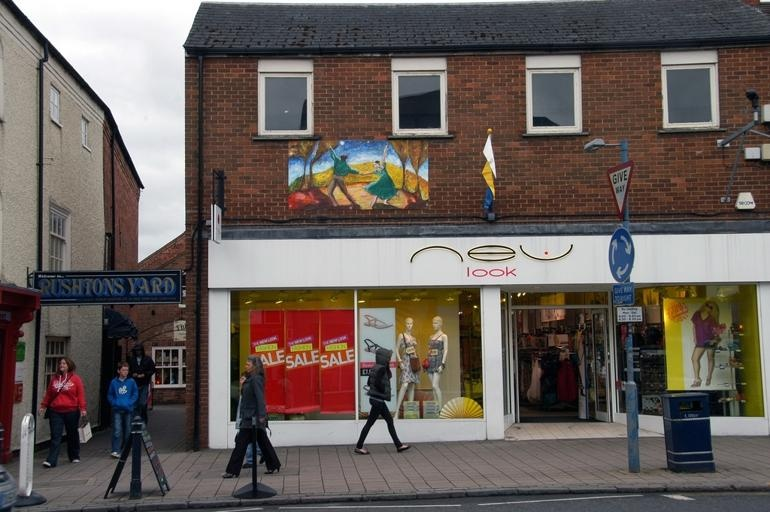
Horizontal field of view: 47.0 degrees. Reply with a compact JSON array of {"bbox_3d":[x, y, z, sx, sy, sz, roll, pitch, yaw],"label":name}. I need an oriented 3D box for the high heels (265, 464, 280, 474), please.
[{"bbox_3d":[-2.491,4.708,19.389,0.133,0.232,0.422,-7,-20,29],"label":"high heels"}]

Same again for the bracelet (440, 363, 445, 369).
[{"bbox_3d":[1.487,2.856,22.704,0.139,0.153,0.023,-1,-6,-9],"label":"bracelet"}]

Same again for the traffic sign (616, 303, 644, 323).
[{"bbox_3d":[5.283,1.147,19.243,0.644,0.477,0.370,-1,6,15],"label":"traffic sign"}]

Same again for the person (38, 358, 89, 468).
[{"bbox_3d":[-7.790,3.769,21.347,0.937,2.555,0.781,0,-7,-22],"label":"person"}]

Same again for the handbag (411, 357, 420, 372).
[{"bbox_3d":[0.743,2.825,22.697,0.312,0.442,0.192,0,-12,-7],"label":"handbag"}]

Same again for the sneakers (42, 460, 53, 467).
[{"bbox_3d":[-8.013,4.929,20.870,0.142,0.157,0.310,3,-9,-42],"label":"sneakers"}]

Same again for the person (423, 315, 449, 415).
[{"bbox_3d":[1.321,2.917,22.673,0.563,2.159,0.159,-1,-6,-7],"label":"person"}]

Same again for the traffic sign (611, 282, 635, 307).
[{"bbox_3d":[5.192,0.848,19.296,0.636,0.684,0.221,-3,-5,37],"label":"traffic sign"}]

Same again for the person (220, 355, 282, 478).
[{"bbox_3d":[-2.829,3.487,19.148,0.957,2.608,1.285,3,-8,-40],"label":"person"}]

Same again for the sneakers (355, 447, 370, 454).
[{"bbox_3d":[-0.579,4.663,21.048,0.273,0.081,0.145,1,-2,1],"label":"sneakers"}]

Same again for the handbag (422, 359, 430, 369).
[{"bbox_3d":[1.015,2.799,22.727,0.165,0.242,0.069,2,-1,1],"label":"handbag"}]
